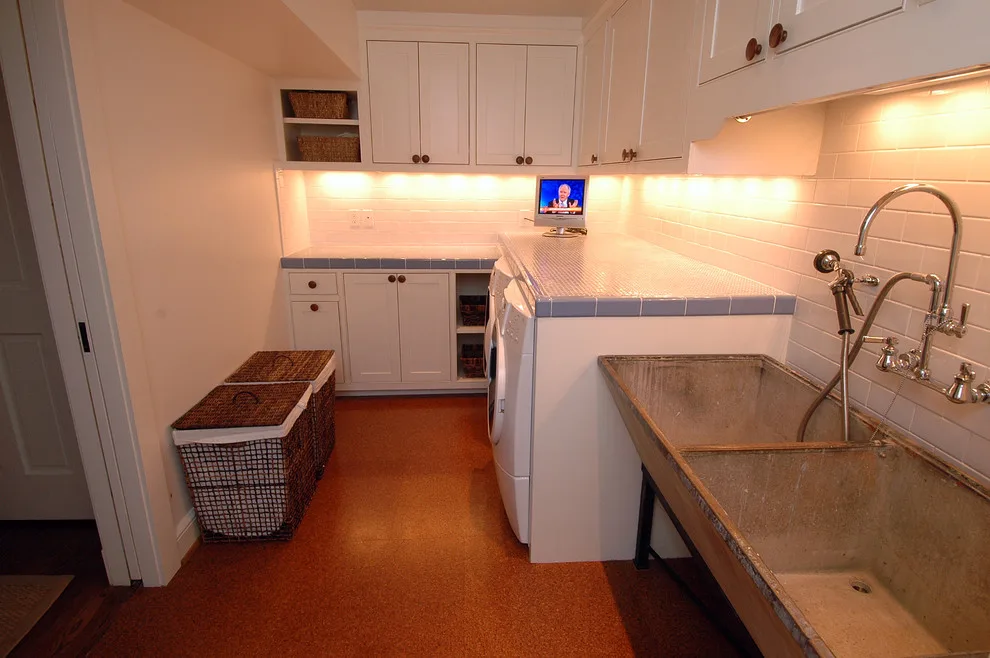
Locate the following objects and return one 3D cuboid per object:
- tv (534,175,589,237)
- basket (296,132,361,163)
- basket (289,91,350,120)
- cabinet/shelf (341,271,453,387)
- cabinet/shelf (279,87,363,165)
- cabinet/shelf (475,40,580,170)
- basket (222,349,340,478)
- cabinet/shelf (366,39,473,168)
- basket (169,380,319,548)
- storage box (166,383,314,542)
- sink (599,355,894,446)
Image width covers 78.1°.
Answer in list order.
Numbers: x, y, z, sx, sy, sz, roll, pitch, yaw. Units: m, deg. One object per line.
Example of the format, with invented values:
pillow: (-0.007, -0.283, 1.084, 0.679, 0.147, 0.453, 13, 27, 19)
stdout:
tv: (0.462, -0.861, 4.287, 0.360, 0.411, 0.144, 2, 20, 3)
basket: (-1.114, -1.210, 4.112, 0.334, 0.127, 0.228, -2, 18, -6)
basket: (-1.155, -1.472, 4.027, 0.295, 0.123, 0.200, -2, 23, -6)
cabinet/shelf: (-0.681, -0.030, 4.115, 0.714, 0.789, 0.399, 0, 12, -5)
cabinet/shelf: (-1.105, -1.337, 4.216, 0.615, 0.582, 0.445, -1, 16, -5)
cabinet/shelf: (0.210, -1.544, 4.116, 0.753, 0.752, 0.356, -1, 20, -3)
basket: (-1.100, 0.437, 3.433, 0.328, 0.503, 0.528, -7, 9, -5)
cabinet/shelf: (-0.442, -1.538, 4.209, 0.860, 0.831, 0.329, 10, 21, 24)
basket: (-1.147, 0.625, 3.105, 0.395, 0.535, 0.634, -7, 14, -2)
storage box: (-1.205, 0.639, 3.019, 0.529, 0.660, 0.446, -1, 15, -4)
sink: (0.879, 0.344, 2.314, 0.878, 0.341, 0.598, 0, 14, -1)
